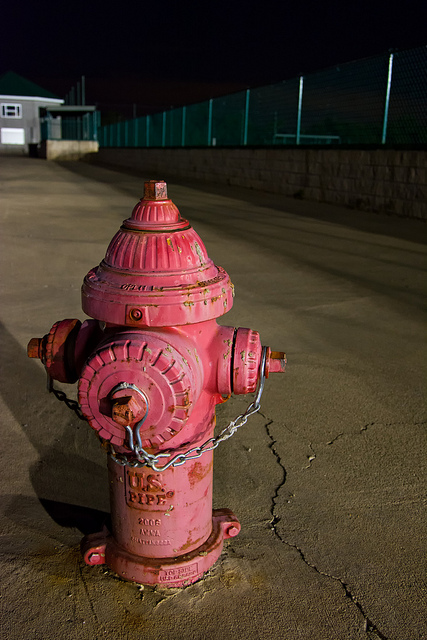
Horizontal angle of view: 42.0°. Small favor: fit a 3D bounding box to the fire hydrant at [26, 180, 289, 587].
[{"bbox_3d":[-0.214,0.229,1.874,0.636,1.365,0.694,12,17,37],"label":"fire hydrant"}]
